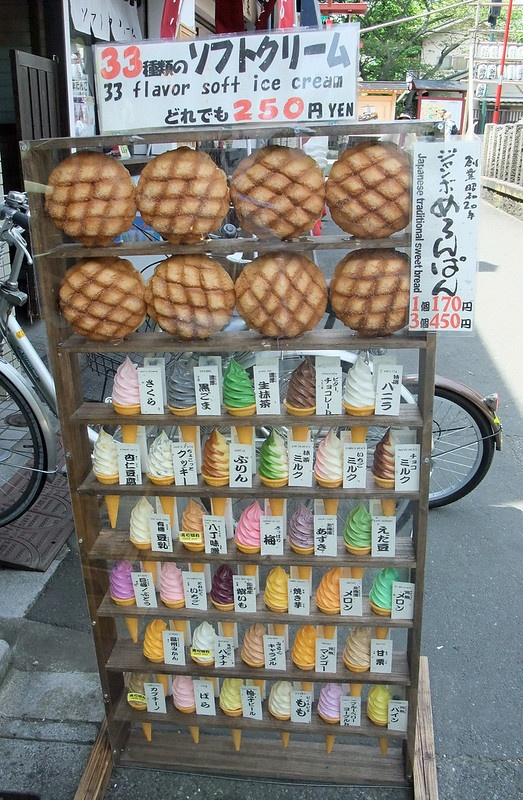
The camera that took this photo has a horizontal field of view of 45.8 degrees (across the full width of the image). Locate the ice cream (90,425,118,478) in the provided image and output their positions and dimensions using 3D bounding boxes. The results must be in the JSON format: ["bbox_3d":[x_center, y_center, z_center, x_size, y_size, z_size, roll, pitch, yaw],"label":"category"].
[{"bbox_3d":[-0.479,0.170,1.907,0.095,0.173,0.093,0,14,-4],"label":"ice cream"}]

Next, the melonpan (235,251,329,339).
[{"bbox_3d":[0.050,-0.260,1.552,0.208,0.211,0.127,9,32,-2],"label":"melonpan"}]

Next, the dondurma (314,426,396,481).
[{"bbox_3d":[0.284,0.170,1.911,0.244,0.174,0.277,3,19,12],"label":"dondurma"}]

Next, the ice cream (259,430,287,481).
[{"bbox_3d":[0.036,0.172,1.822,0.088,0.156,0.090,-4,21,-8],"label":"ice cream"}]

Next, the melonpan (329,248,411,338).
[{"bbox_3d":[0.279,-0.263,1.541,0.208,0.287,0.191,-2,13,5],"label":"melonpan"}]

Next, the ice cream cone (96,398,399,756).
[{"bbox_3d":[-0.045,0.448,2.317,0.957,1.271,0.767,-1,19,1],"label":"ice cream cone"}]

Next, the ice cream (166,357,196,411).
[{"bbox_3d":[-0.236,-0.040,1.789,0.079,0.142,0.120,-4,21,-8],"label":"ice cream"}]

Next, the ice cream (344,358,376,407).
[{"bbox_3d":[0.266,-0.051,1.730,0.098,0.147,0.099,9,19,24],"label":"ice cream"}]

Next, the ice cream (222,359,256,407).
[{"bbox_3d":[-0.068,-0.050,1.734,0.113,0.164,0.117,-1,10,1],"label":"ice cream"}]
